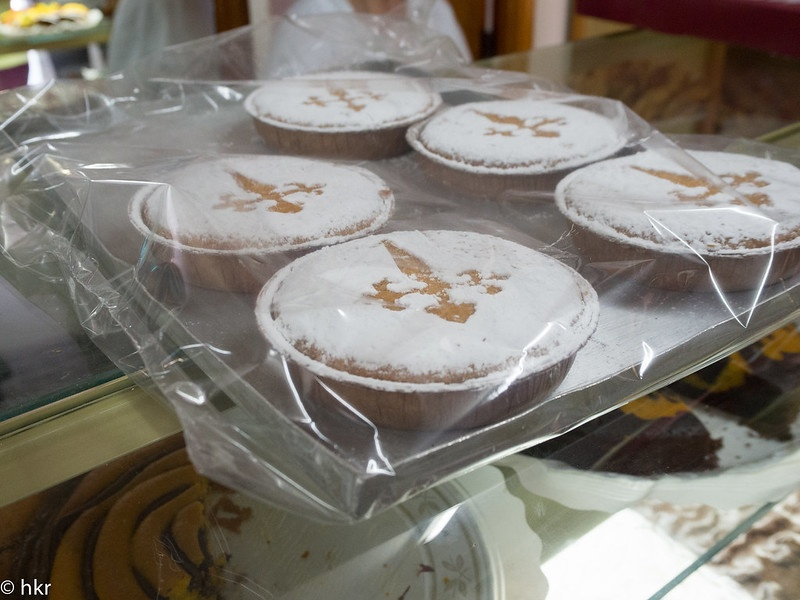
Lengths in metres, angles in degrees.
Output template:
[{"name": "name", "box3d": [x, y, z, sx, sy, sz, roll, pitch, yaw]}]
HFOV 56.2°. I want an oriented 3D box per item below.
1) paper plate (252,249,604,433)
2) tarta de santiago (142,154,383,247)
[{"name": "paper plate", "box3d": [0.021, 0.028, 0.673, 0.295, 0.099, 0.186, 7, 36, 11]}, {"name": "tarta de santiago", "box3d": [-0.121, -0.091, 0.732, 0.173, 0.014, 0.135, 2, 26, -5]}]
